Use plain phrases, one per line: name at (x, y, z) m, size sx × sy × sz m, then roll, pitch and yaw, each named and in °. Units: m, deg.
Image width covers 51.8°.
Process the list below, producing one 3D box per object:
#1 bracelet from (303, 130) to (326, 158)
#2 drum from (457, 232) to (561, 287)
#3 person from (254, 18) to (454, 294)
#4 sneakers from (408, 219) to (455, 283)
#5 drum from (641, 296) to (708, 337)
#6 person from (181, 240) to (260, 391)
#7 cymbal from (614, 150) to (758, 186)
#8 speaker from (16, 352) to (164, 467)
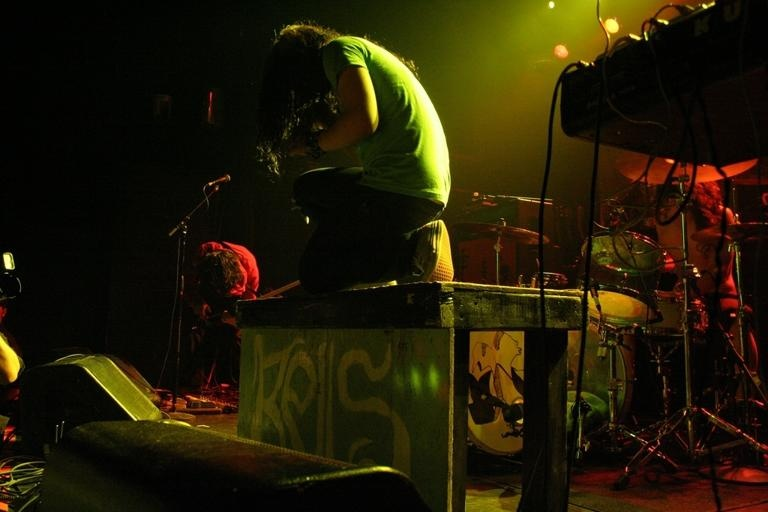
bracelet at (-0.446, -0.713, 5.058) m, size 0.100 × 0.142 × 0.136 m, roll -3°, pitch 8°, yaw -6°
drum at (1.166, 0.004, 7.975) m, size 0.691 × 0.461 × 0.678 m, roll 0°, pitch -11°, yaw 0°
person at (-0.203, -0.668, 5.500) m, size 1.302 × 1.953 × 1.139 m, roll -5°, pitch -15°, yaw 18°
sneakers at (0.322, 0.020, 5.227) m, size 0.171 × 0.221 × 0.537 m, roll -5°, pitch -42°, yaw -7°
drum at (2.376, 0.506, 6.410) m, size 0.405 × 0.187 × 0.331 m, roll 1°, pitch -15°, yaw 5°
person at (-1.862, 0.671, 8.859) m, size 0.936 × 1.636 × 0.525 m, roll -3°, pitch -5°, yaw 32°
cymbal at (2.144, -0.630, 5.640) m, size 0.576 × 0.091 × 0.625 m, roll 3°, pitch -5°, yaw -5°
speaker at (-2.147, 1.157, 6.065) m, size 0.828 × 0.768 × 1.151 m, roll -5°, pitch -3°, yaw -3°
